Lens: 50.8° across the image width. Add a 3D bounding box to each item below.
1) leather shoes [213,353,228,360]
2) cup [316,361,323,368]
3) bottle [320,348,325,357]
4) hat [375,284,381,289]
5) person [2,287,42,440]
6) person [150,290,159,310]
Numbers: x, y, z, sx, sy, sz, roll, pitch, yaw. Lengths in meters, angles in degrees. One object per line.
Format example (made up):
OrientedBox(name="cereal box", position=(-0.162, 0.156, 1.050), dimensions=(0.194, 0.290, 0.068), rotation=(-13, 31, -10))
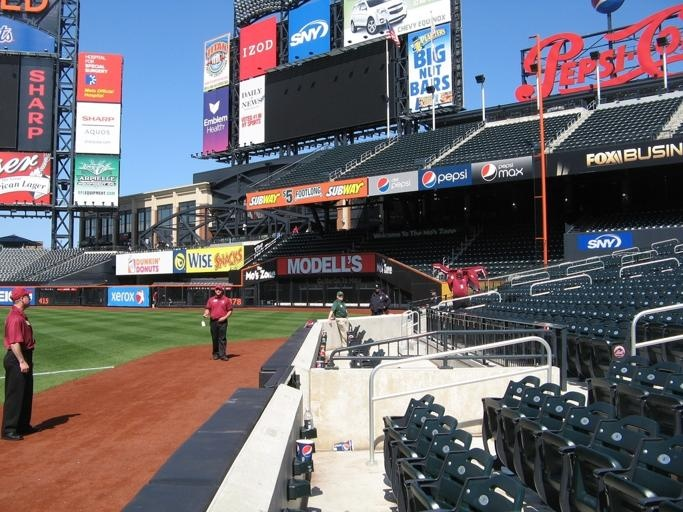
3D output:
OrientedBox(name="leather shoes", position=(-3.188, 2.646, 18.889), dimensions=(0.526, 0.198, 0.164), rotation=(-6, -5, 40))
OrientedBox(name="cup", position=(-0.428, 2.346, 15.552), dimensions=(0.136, 0.091, 0.136), rotation=(1, -5, 0))
OrientedBox(name="bottle", position=(-0.429, 2.291, 17.009), dimensions=(0.130, 0.203, 0.117), rotation=(-2, -8, 3))
OrientedBox(name="hat", position=(1.963, 1.560, 36.998), dimensions=(0.212, 0.192, 0.195), rotation=(-2, -5, 29))
OrientedBox(name="person", position=(-5.914, 1.967, 12.999), dimensions=(0.726, 2.631, 0.743), rotation=(-7, 8, -16))
OrientedBox(name="person", position=(-11.531, 2.579, 44.383), dimensions=(0.377, 1.068, 0.452), rotation=(1, 10, 38))
